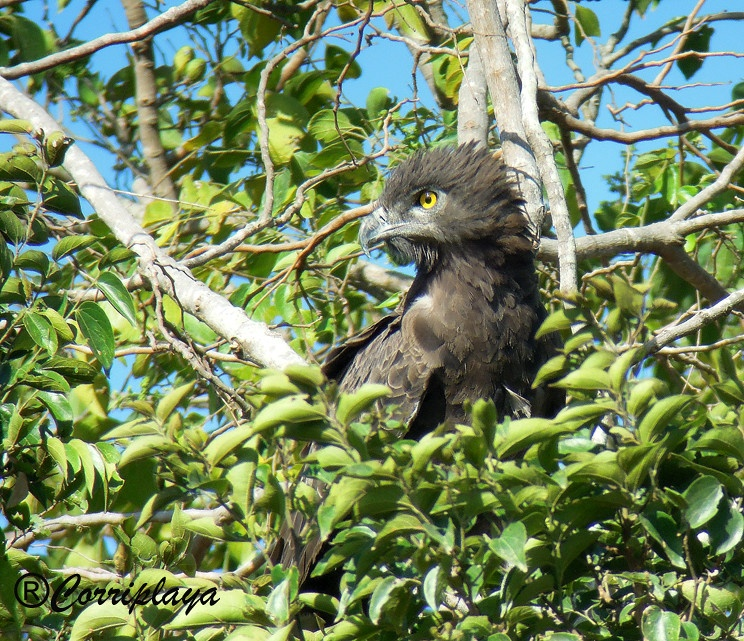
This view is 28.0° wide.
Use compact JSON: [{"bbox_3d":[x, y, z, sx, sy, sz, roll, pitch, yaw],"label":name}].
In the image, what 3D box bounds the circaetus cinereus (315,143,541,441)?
[{"bbox_3d":[0.412,-0.104,7.790,1.146,1.313,1.319,10,-48,4],"label":"circaetus cinereus"}]
